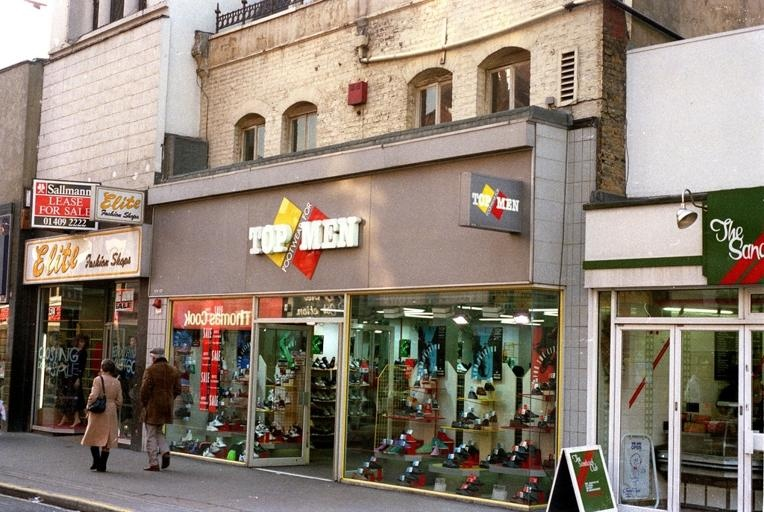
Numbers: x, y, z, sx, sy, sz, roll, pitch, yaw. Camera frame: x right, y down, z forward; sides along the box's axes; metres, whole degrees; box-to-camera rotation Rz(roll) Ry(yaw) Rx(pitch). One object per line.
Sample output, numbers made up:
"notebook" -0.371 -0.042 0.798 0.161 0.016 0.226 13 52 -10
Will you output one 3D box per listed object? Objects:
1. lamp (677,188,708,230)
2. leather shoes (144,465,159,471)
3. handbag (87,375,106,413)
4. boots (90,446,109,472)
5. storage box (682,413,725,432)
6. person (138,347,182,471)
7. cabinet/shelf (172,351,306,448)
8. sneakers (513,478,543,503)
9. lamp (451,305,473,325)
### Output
"lamp" 4.977 -0.829 13.641 0.562 0.440 0.312 -14 15 -7
"leather shoes" -4.681 4.318 17.267 0.263 0.116 0.112 3 -2 17
"handbag" -5.721 2.823 17.160 0.245 0.746 0.313 -5 -10 34
"boots" -5.717 4.127 17.208 0.315 0.487 0.640 4 -9 -20
"storage box" 5.204 2.725 13.708 0.658 0.301 0.132 -3 -9 22
"person" -4.632 3.198 17.764 0.763 2.505 1.095 2 -8 -12
"cabinet/shelf" -3.009 3.199 18.665 2.151 2.008 0.768 -1 -5 39
"sneakers" 2.542 4.031 14.459 0.227 0.291 0.662 -3 -4 30
"lamp" 1.417 1.080 15.334 0.342 0.329 0.090 7 3 43
